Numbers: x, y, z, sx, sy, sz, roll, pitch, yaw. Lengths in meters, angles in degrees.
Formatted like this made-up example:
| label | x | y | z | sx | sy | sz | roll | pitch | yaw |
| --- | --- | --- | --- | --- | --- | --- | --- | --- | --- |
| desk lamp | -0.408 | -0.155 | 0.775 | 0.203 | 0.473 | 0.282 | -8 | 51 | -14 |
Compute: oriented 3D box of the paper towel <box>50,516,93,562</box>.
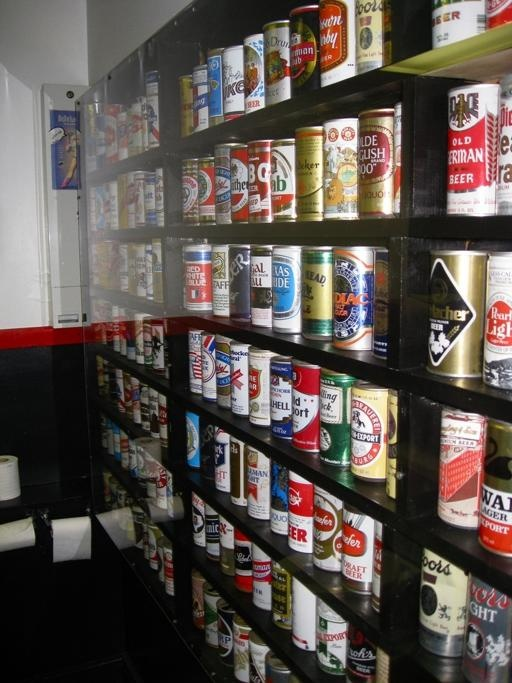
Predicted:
| label | x | y | z | sx | sy | sz | roll | pitch | yaw |
| --- | --- | --- | --- | --- | --- | --- | --- | --- | --- |
| paper towel | -0.677 | 0.720 | 2.072 | 0.161 | 0.169 | 0.061 | -4 | 15 | -20 |

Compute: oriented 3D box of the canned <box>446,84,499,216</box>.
| label | x | y | z | sx | sy | sz | roll | pitch | yaw |
| --- | --- | --- | --- | --- | --- | --- | --- | --- | --- |
| canned | 0.201 | -0.180 | 0.535 | 0.047 | 0.119 | 0.031 | 3 | 13 | 32 |

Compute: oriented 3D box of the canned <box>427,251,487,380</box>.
| label | x | y | z | sx | sy | sz | roll | pitch | yaw |
| --- | --- | --- | --- | --- | --- | --- | --- | --- | --- |
| canned | 0.199 | -0.028 | 0.566 | 0.054 | 0.125 | 0.034 | 1 | 12 | 27 |

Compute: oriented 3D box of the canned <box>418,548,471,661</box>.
| label | x | y | z | sx | sy | sz | roll | pitch | yaw |
| --- | --- | --- | --- | --- | --- | --- | --- | --- | --- |
| canned | 0.215 | 0.306 | 0.659 | 0.062 | 0.124 | 0.034 | 4 | 14 | 37 |
